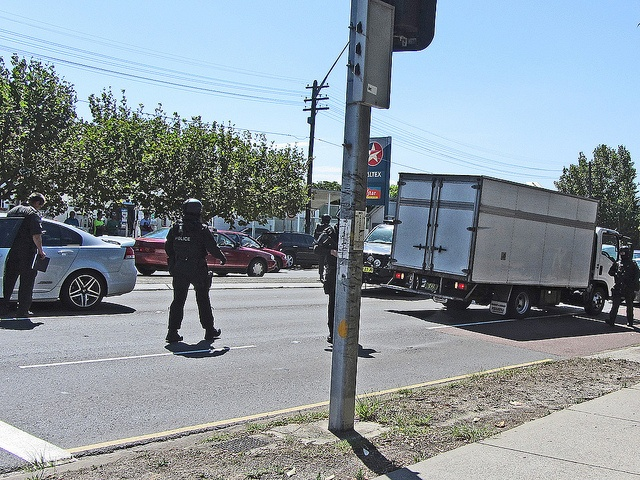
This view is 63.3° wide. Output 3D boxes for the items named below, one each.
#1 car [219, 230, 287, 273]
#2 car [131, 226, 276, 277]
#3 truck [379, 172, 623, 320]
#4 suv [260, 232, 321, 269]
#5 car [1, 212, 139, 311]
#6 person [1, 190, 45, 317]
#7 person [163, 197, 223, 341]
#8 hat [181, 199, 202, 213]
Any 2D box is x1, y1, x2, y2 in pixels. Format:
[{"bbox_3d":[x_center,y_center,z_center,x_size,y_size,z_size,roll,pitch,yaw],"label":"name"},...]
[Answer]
[{"bbox_3d":[-2.806,0.432,23.424,3.113,1.348,1.336,-1,2,-22],"label":"car"},{"bbox_3d":[-4.364,0.774,20.450,5.138,1.575,2.161,-2,2,-40],"label":"car"},{"bbox_3d":[5.694,0.062,16.677,8.035,4.246,3.604,-1,4,-38],"label":"truck"},{"bbox_3d":[-1.763,0.541,29.266,3.648,1.568,1.661,-2,3,-33],"label":"suv"},{"bbox_3d":[-5.033,0.621,10.908,2.808,1.030,1.231,6,-5,-30],"label":"car"},{"bbox_3d":[-5.472,0.287,9.669,0.832,2.580,0.455,4,-1,13],"label":"person"},{"bbox_3d":[-2.135,0.535,8.787,0.995,2.447,0.787,5,-1,-17],"label":"person"},{"bbox_3d":[-2.161,-0.583,8.842,0.232,0.274,0.310,5,12,18],"label":"hat"}]
